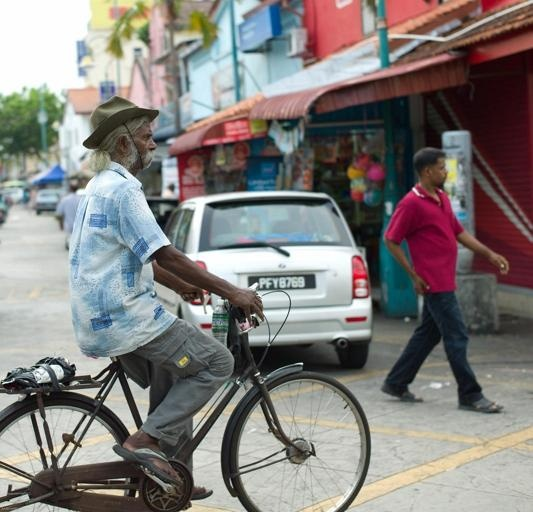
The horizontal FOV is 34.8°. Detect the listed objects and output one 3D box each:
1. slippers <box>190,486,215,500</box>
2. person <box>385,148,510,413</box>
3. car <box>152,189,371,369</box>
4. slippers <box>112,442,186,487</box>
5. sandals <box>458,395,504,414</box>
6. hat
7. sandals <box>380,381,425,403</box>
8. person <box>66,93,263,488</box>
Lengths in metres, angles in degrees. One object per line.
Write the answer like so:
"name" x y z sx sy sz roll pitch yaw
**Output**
"slippers" -0.328 1.197 4.232 0.171 0.060 0.062 -2 4 -7
"person" 1.231 0.161 6.071 0.891 1.858 0.555 -2 7 14
"car" 0.128 0.065 7.028 1.145 0.898 1.971 -1 5 -12
"slippers" -0.518 0.952 3.918 0.359 0.136 0.135 26 -3 -1
"sandals" 1.510 1.051 5.955 0.243 0.084 0.111 -2 -1 30
"hat" -0.704 -0.627 3.956 0.255 0.117 0.305 -27 3 42
"sandals" 0.987 1.026 6.354 0.371 0.145 0.121 13 2 -1
"person" -0.526 0.253 4.001 0.768 2.019 0.505 -5 7 -12
